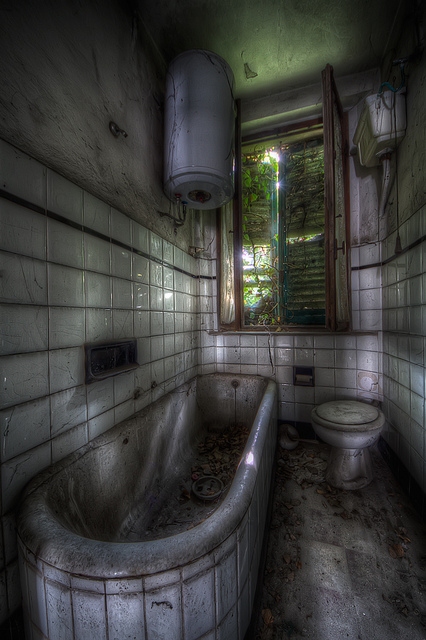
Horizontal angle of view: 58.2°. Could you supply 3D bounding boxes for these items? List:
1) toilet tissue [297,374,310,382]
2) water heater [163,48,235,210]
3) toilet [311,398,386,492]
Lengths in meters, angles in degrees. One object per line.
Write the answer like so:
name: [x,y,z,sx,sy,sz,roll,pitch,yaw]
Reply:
toilet tissue: [0.517,0.341,2.198,0.072,0.052,0.036,5,10,17]
water heater: [-0.070,-0.860,1.743,0.342,0.652,0.343,0,9,-4]
toilet: [0.600,0.467,1.728,0.229,0.409,0.334,-1,16,16]
